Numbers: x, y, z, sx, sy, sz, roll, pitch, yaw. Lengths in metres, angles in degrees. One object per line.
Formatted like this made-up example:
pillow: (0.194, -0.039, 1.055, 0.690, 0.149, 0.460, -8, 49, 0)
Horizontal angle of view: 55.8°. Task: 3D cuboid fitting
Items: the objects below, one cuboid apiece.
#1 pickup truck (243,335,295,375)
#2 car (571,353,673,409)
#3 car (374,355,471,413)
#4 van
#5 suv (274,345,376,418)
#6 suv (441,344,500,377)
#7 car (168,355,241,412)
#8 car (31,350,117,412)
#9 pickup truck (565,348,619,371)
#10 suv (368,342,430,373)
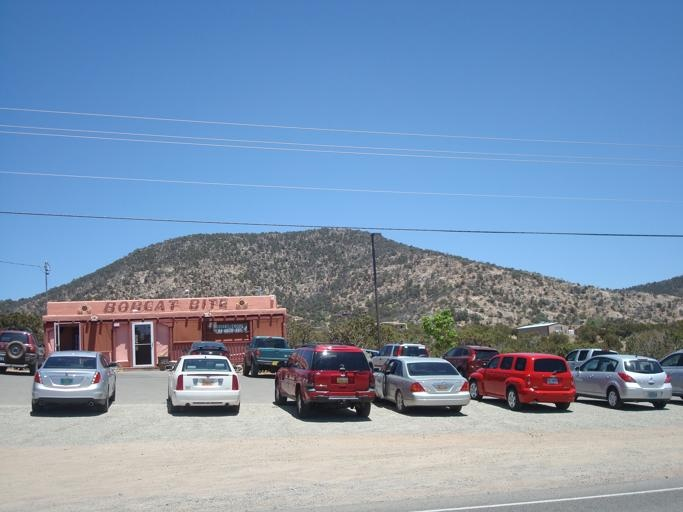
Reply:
pickup truck: (-3.725, 4.767, 31.427, 1.424, 1.317, 2.946, 1, -3, -14)
car: (9.653, 4.339, 22.221, 2.749, 1.766, 1.516, -9, -13, 34)
car: (2.508, 4.153, 21.014, 1.817, 1.758, 3.067, 6, -13, -35)
van: (6.065, 4.160, 22.480, 1.710, 1.309, 3.353, 3, -2, -20)
suv: (-0.658, 3.746, 20.189, 1.726, 1.377, 3.029, 2, -2, -15)
suv: (5.449, 4.425, 27.501, 1.044, 0.984, 2.347, 2, -3, -16)
car: (-4.081, 3.818, 19.121, 1.198, 1.024, 2.625, 1, -1, -14)
car: (-7.941, 3.727, 19.974, 1.332, 1.066, 3.116, 0, -2, -8)
pickup truck: (10.195, 4.134, 26.609, 1.142, 0.911, 2.125, 1, -1, -11)
suv: (2.467, 4.467, 29.194, 1.277, 1.172, 2.795, 1, -2, -20)
